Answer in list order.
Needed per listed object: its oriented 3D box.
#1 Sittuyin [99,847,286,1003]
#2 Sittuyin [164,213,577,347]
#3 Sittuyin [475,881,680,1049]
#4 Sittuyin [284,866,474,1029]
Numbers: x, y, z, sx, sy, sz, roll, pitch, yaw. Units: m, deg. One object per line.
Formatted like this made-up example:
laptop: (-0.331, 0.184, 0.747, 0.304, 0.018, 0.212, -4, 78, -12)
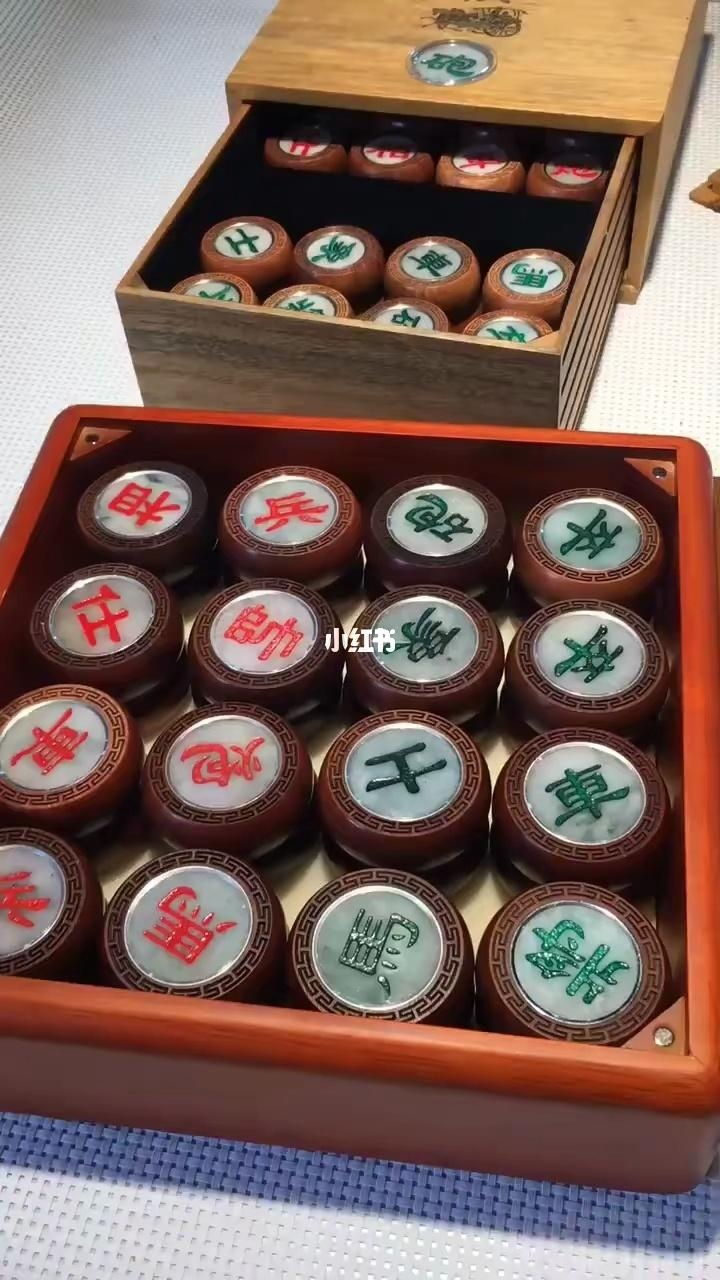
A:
Sittuyin: (-0.121, 0.210, 0.776, 0.136, 0.031, 0.122, 3, 47, 3)
Sittuyin: (0.040, -0.510, 1.485, 0.534, 0.119, 0.264, 5, 55, 5)
Sittuyin: (0.150, 0.225, 0.733, 0.120, 0.026, 0.121, 11, 48, 11)
Sittuyin: (0.016, 0.221, 0.756, 0.131, 0.039, 0.119, 5, 47, 5)
